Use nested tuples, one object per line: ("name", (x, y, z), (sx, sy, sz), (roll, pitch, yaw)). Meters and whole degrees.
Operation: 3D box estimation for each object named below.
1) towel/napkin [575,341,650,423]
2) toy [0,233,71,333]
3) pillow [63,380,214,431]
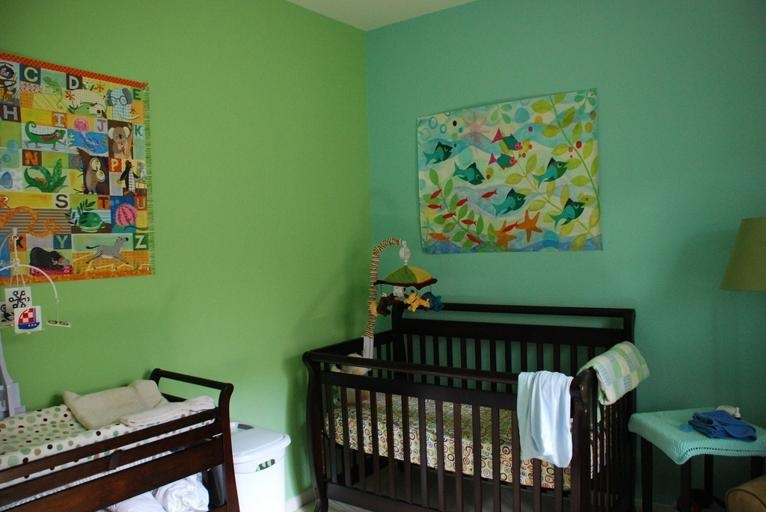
("towel/napkin", (1.244, 0.585, 3.031), (0.468, 0.297, 0.155), (-33, 19, -30))
("toy", (-1.622, 0.118, 2.774), (0.286, 0.485, 0.202), (-2, 6, -26))
("pillow", (-1.249, 0.724, 2.894), (0.314, 0.101, 0.321), (-1, 1, -42))
